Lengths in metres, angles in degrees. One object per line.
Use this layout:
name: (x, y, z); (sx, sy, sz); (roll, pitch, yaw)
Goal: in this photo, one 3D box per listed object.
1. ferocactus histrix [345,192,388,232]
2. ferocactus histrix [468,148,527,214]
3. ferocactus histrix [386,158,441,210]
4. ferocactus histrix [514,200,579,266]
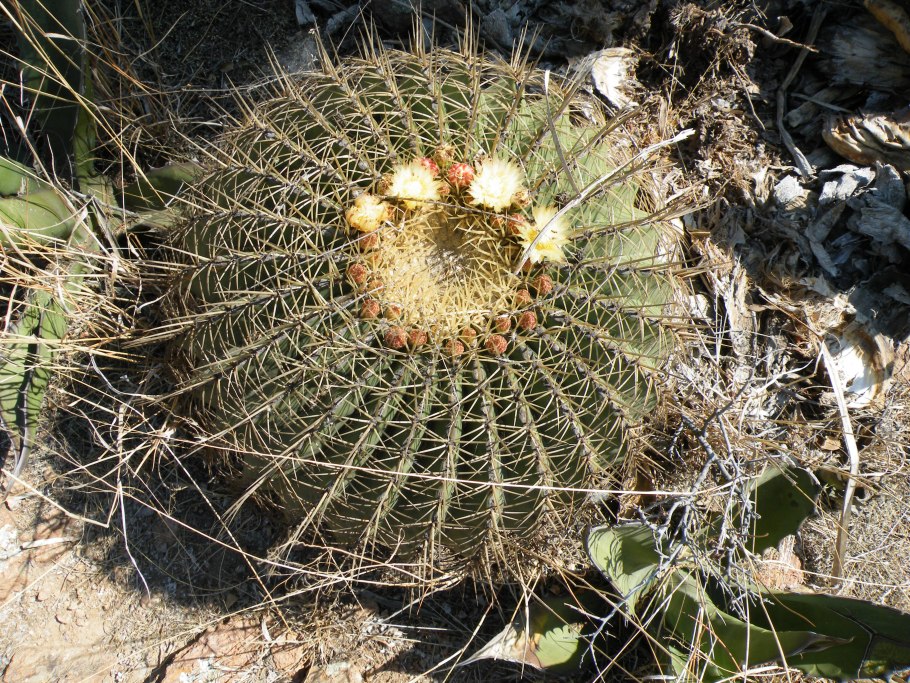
ferocactus histrix: (-0.334, -0.487, 3.493); (0.147, 0.065, 0.166); (34, 83, 3)
ferocactus histrix: (0.167, -0.594, 3.532); (0.209, 0.073, 0.223); (26, 83, 2)
ferocactus histrix: (-0.153, -0.599, 3.509); (0.207, 0.061, 0.180); (23, 83, 1)
ferocactus histrix: (0.346, -0.423, 3.511); (0.215, 0.183, 0.246); (-4, 83, -2)
